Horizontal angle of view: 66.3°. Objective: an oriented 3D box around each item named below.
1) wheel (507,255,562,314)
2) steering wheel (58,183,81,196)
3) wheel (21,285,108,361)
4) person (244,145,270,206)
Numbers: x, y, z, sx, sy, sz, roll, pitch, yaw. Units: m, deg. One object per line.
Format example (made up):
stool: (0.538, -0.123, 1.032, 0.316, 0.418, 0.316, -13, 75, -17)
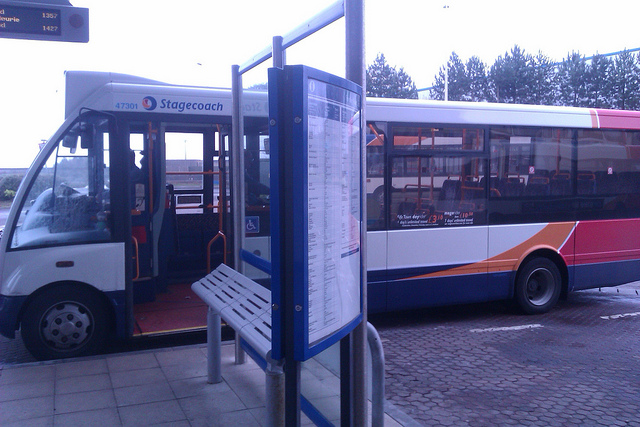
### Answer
wheel: (4.213, 1.366, 9.650, 1.105, 1.134, 0.392, -3, 9, -25)
steering wheel: (-3.945, -0.356, 7.664, 0.137, 0.104, 0.226, -1, -10, 37)
wheel: (-3.933, 1.654, 7.481, 1.148, 1.313, 0.412, 0, 7, -18)
person: (-0.980, -0.584, 7.576, 0.344, 0.899, 0.713, 0, 12, -7)
